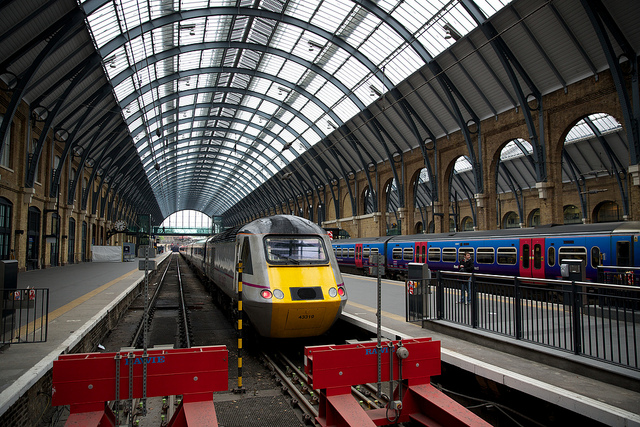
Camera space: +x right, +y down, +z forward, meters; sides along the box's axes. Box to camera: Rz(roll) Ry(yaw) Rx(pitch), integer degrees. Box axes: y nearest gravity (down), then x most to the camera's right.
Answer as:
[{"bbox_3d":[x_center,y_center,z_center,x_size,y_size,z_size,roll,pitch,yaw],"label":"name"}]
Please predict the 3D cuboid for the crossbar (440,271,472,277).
[{"bbox_3d":[4.381,1.950,12.606,0.536,0.151,2.143,-4,-7,9],"label":"crossbar"}]

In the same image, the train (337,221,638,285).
[{"bbox_3d":[9.067,2.614,24.626,3.358,3.280,17.910,3,-9,-39],"label":"train"}]

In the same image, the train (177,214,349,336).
[{"bbox_3d":[-2.268,2.142,14.389,2.391,3.913,7.010,2,-8,-32],"label":"train"}]
